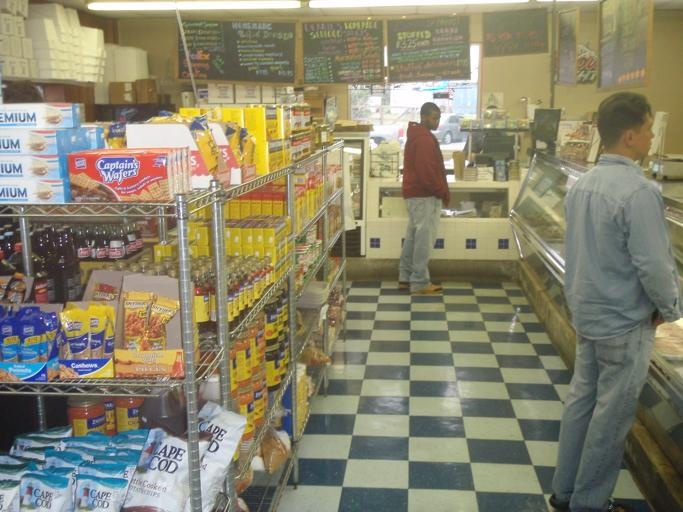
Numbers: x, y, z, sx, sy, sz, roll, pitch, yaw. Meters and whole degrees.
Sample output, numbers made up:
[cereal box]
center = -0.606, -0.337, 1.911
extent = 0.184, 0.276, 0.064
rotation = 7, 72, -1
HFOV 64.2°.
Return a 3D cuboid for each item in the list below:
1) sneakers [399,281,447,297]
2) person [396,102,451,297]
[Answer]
[sneakers]
center = 0.927, 0.374, 6.251
extent = 0.531, 0.186, 0.177
rotation = -2, 9, -1
[person]
center = 0.902, -0.632, 6.068
extent = 0.552, 2.087, 0.533
rotation = -3, 18, -1
